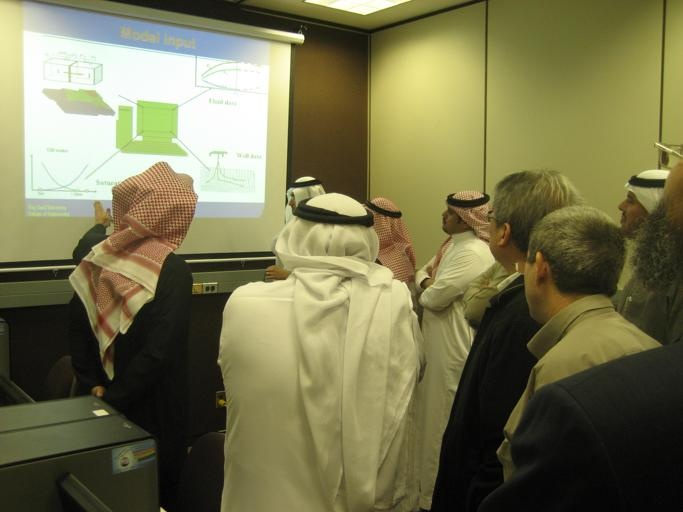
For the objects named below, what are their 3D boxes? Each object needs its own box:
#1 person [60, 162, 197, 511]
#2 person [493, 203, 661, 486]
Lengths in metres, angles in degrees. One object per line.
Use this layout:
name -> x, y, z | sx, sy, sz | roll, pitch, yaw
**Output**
person -> -0.971, 0.392, 2.724 | 0.573, 1.511, 0.589 | -1, 13, -1
person -> 0.710, 0.276, 1.700 | 0.534, 0.834, 0.470 | -4, 4, -12
